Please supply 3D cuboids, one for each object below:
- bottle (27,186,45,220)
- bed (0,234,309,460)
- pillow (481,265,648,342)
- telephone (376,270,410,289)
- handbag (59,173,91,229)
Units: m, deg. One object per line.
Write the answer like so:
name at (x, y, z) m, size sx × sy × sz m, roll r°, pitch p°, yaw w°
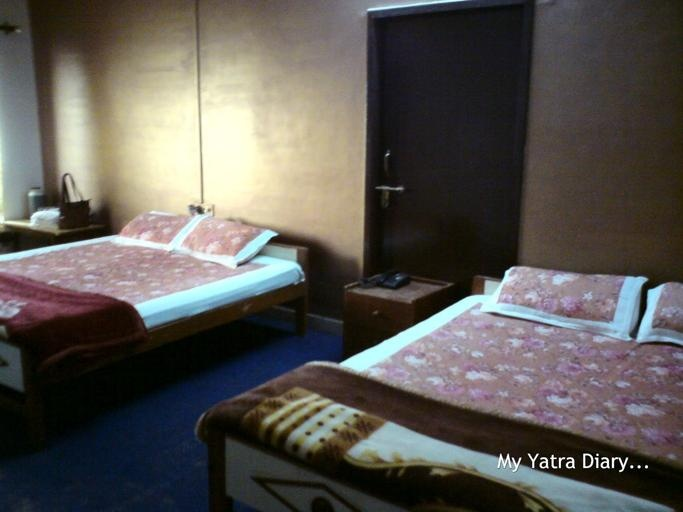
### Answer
bottle at (-3.055, -0.531, 4.997) m, size 0.177 × 0.296 × 0.417 m, roll -13°, pitch 17°, yaw -31°
bed at (-1.045, 0.273, 3.132) m, size 1.334 × 0.500 × 1.374 m, roll 9°, pitch 15°, yaw 35°
pillow at (1.170, 0.233, 2.641) m, size 0.516 × 0.151 × 0.480 m, roll 5°, pitch 28°, yaw 37°
telephone at (0.360, 0.162, 3.374) m, size 0.142 × 0.042 × 0.141 m, roll 7°, pitch 20°, yaw 41°
handbag at (-2.607, -0.547, 4.815) m, size 0.276 × 0.493 × 0.655 m, roll -11°, pitch 17°, yaw -27°
